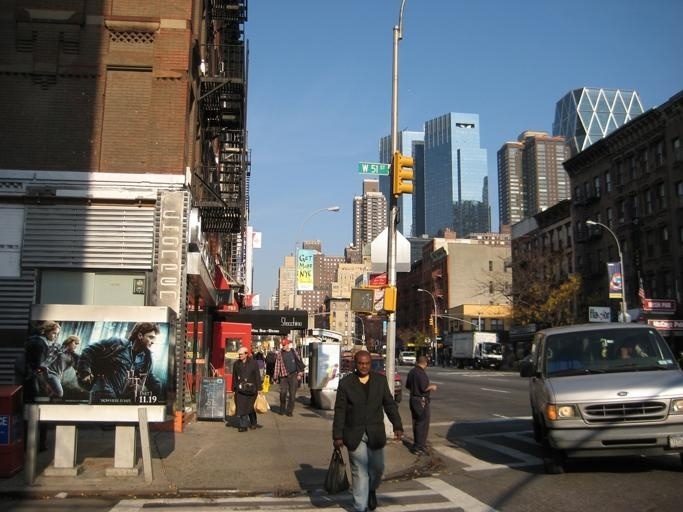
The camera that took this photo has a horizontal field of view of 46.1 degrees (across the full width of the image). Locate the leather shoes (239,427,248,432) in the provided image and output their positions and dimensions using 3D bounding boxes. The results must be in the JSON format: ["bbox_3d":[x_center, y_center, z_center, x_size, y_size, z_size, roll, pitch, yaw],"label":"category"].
[{"bbox_3d":[-2.525,4.485,20.769,0.209,0.118,0.362,1,-8,-8],"label":"leather shoes"}]

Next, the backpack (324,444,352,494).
[{"bbox_3d":[-0.071,3.676,13.729,0.380,0.789,0.426,0,-7,-1],"label":"backpack"}]

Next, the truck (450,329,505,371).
[{"bbox_3d":[12.686,8.465,71.845,2.277,3.192,6.220,2,-11,-15],"label":"truck"}]

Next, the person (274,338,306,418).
[{"bbox_3d":[-1.623,3.817,25.378,0.815,2.528,0.669,1,-5,-20],"label":"person"}]
